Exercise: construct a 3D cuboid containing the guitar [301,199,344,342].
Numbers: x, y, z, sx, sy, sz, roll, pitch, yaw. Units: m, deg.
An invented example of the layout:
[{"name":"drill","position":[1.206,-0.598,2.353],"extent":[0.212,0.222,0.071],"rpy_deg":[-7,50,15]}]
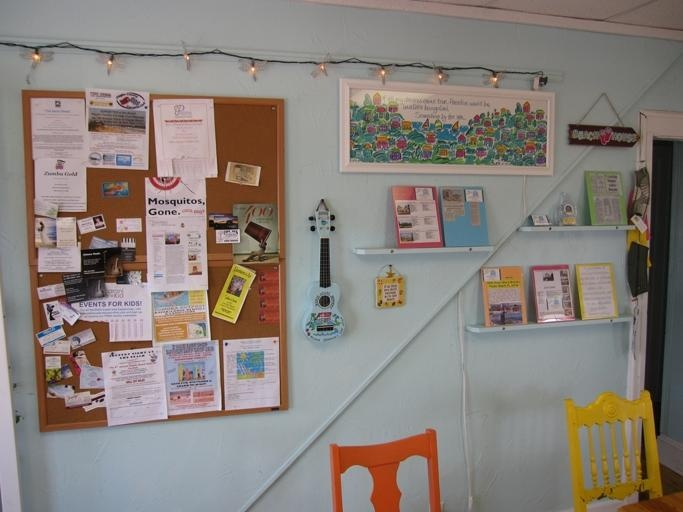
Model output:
[{"name":"guitar","position":[-0.109,0.080,3.265],"extent":[0.232,0.791,0.112],"rpy_deg":[-2,3,0]}]
